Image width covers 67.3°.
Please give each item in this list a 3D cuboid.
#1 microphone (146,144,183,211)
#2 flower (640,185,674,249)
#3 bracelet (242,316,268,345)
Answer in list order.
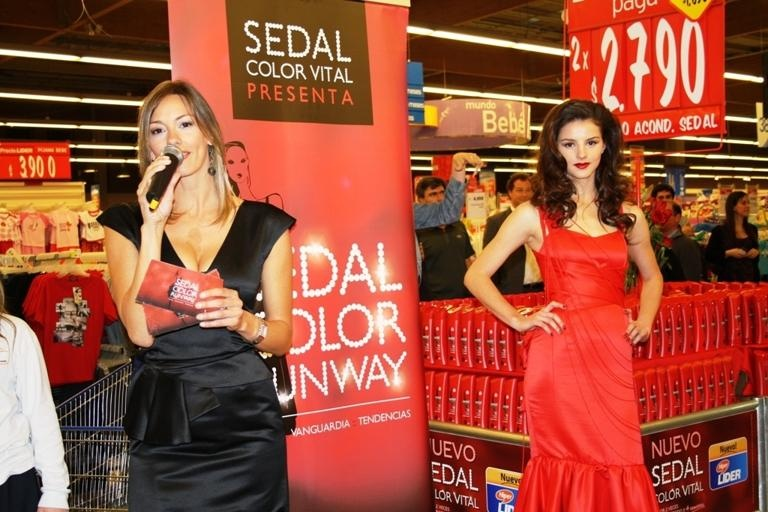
[{"bbox_3d":[-0.769,-0.274,2.009,0.073,0.228,0.127,-2,4,14],"label":"microphone"},{"bbox_3d":[2.177,-0.357,4.656,0.150,0.417,0.147,8,8,23],"label":"flower"},{"bbox_3d":[-0.472,0.258,2.069,0.084,0.096,0.082,-16,3,-34],"label":"bracelet"}]
